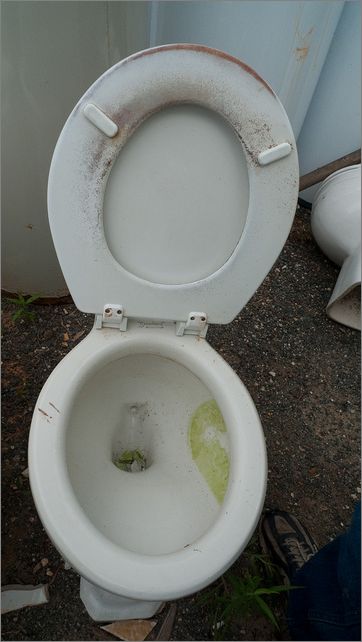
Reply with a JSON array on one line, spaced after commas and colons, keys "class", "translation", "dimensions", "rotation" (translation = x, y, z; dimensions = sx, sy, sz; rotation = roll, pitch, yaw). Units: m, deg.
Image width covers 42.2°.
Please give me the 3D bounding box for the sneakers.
[{"class": "sneakers", "translation": [0.286, 0.611, 1.254], "dimensions": [0.095, 0.103, 0.266], "rotation": [-32, 74, -12]}]
